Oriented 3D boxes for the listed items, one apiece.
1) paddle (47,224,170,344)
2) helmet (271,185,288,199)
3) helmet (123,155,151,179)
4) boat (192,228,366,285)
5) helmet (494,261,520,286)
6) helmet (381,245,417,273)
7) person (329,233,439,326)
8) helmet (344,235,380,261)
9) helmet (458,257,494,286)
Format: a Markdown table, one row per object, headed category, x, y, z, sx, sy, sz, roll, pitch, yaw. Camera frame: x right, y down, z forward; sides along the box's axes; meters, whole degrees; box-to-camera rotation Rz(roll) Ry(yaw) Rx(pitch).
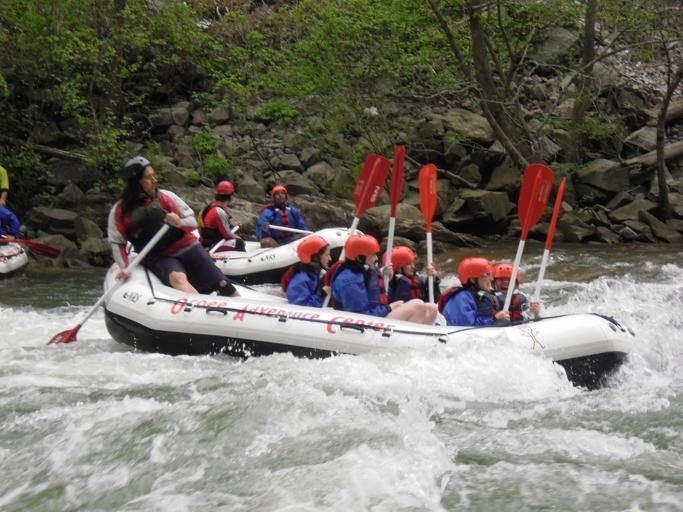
| category | x | y | z | sx | sy | sz | roll | pitch | yaw |
| --- | --- | --- | --- | --- | --- | --- | --- | --- | --- |
| paddle | -3.534 | 0.469 | 11.558 | 2.893 | 0.460 | 0.223 | -37 | 27 | -4 |
| helmet | -1.135 | -1.190 | 14.252 | 0.233 | 0.199 | 0.269 | -2 | 11 | -10 |
| helmet | -2.638 | -1.162 | 10.035 | 0.398 | 0.257 | 0.246 | 10 | 15 | -5 |
| boat | -1.054 | 0.065 | 13.911 | 2.248 | 0.493 | 1.189 | -7 | -2 | 7 |
| helmet | 2.157 | 0.235 | 10.006 | 0.311 | 0.309 | 0.291 | 0 | -5 | 7 |
| helmet | 0.802 | 0.029 | 10.349 | 0.435 | 0.286 | 0.321 | -27 | -2 | 28 |
| person | 0.577 | 0.371 | 9.891 | 1.609 | 1.177 | 0.839 | 5 | 16 | 9 |
| helmet | 0.330 | -0.104 | 9.775 | 0.469 | 0.278 | 0.305 | 9 | 9 | 6 |
| helmet | 1.707 | 0.194 | 9.659 | 0.464 | 0.249 | 0.330 | 0 | 7 | 11 |
